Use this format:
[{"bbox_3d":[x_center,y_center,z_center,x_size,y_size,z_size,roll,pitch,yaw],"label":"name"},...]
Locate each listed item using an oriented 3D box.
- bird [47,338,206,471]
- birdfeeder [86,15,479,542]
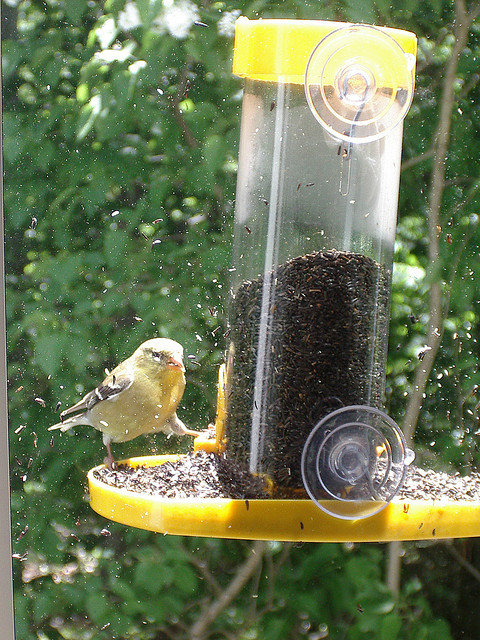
[{"bbox_3d":[-0.331,0.225,2.666,0.509,0.379,0.250,9,12,37],"label":"bird"},{"bbox_3d":[0.063,-0.093,2.175,0.882,1.147,0.674,-6,23,-10],"label":"birdfeeder"}]
